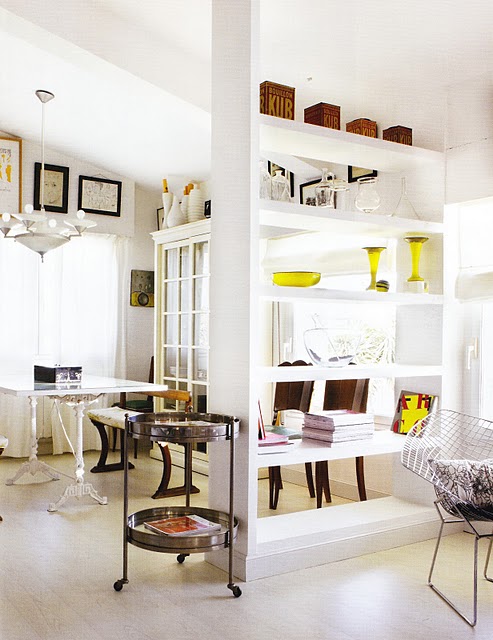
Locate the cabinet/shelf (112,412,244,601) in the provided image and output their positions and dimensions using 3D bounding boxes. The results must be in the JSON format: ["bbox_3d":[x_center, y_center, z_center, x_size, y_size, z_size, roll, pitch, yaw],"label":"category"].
[{"bbox_3d":[-0.277,0.764,2.762,0.697,0.857,0.676,2,-5,-4],"label":"cabinet/shelf"}]

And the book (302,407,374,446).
[{"bbox_3d":[0.426,0.517,2.985,0.236,0.099,0.167,-1,3,-22],"label":"book"}]

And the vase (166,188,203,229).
[{"bbox_3d":[-0.515,-0.931,5.129,0.195,0.396,0.476,-3,3,-39],"label":"vase"}]

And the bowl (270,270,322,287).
[{"bbox_3d":[0.231,-0.189,2.848,0.214,0.107,0.302,0,-4,3],"label":"bowl"}]
